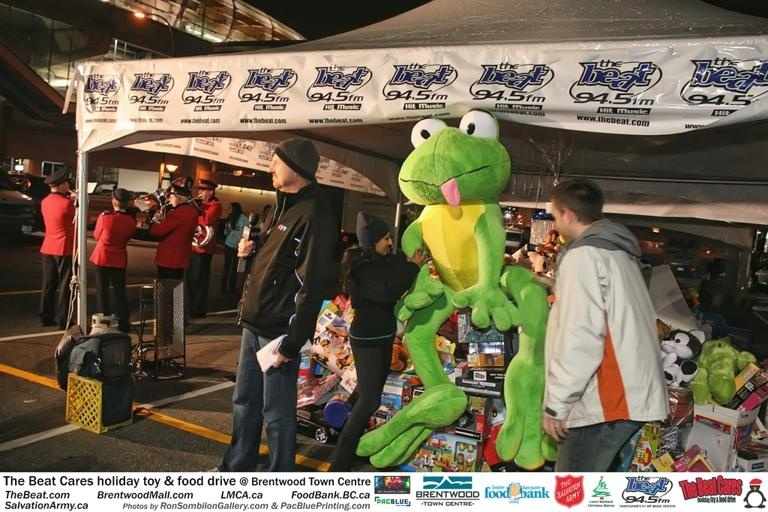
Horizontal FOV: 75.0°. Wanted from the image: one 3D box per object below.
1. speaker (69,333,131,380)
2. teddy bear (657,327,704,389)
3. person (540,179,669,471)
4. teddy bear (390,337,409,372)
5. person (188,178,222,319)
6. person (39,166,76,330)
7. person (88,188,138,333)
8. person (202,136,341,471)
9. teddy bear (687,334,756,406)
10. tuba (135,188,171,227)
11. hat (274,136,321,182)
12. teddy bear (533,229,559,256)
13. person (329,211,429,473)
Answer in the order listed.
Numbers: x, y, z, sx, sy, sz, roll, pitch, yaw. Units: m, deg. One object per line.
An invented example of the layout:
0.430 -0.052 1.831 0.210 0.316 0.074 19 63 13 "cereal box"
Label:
-3.136 1.106 5.572 0.601 0.466 0.583 3 -4 32 "speaker"
3.087 1.039 5.331 0.401 0.658 0.500 10 -2 -43 "teddy bear"
1.672 0.572 3.914 0.910 2.204 0.837 5 4 44 "person"
0.158 1.056 5.383 0.144 0.328 0.275 -9 6 30 "teddy bear"
-3.477 -0.177 9.686 0.735 2.395 0.679 4 -8 -4 "person"
-5.519 -0.152 8.670 0.714 2.536 0.787 8 7 29 "person"
-4.396 0.080 8.043 0.675 2.161 0.624 4 4 -42 "person"
-0.987 0.579 4.701 1.233 3.290 0.826 10 6 44 "person"
3.569 1.280 5.269 0.248 0.658 0.659 51 -21 -25 "teddy bear"
-4.129 -1.008 8.922 0.440 0.370 0.508 35 19 36 "tuba"
-0.785 -0.879 4.591 0.395 0.381 0.338 -1 10 -1 "hat"
2.083 -0.179 6.416 0.286 0.180 0.365 -22 11 25 "teddy bear"
-0.021 0.836 4.707 0.909 2.366 0.720 -6 -1 20 "person"
